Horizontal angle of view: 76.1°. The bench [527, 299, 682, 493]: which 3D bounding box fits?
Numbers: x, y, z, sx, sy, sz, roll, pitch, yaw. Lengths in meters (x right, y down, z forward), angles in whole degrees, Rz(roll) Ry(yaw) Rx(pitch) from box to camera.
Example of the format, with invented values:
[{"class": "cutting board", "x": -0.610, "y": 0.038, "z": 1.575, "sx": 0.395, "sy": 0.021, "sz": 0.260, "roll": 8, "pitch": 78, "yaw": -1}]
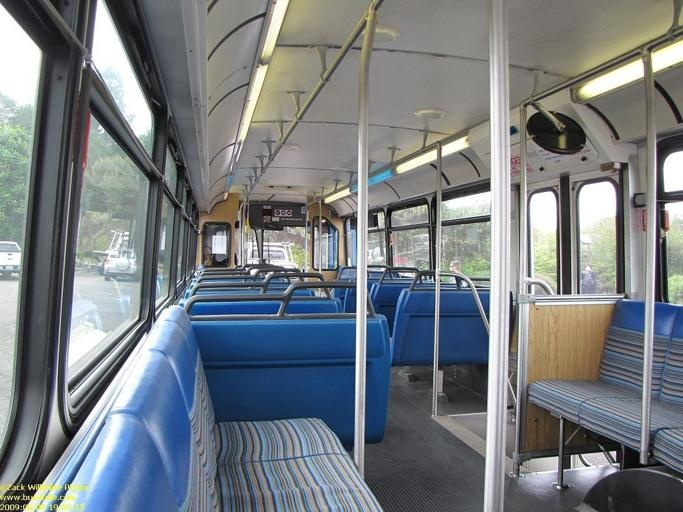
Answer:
[{"class": "bench", "x": 2.021, "y": 1.076, "z": 3.375, "sx": 0.758, "sy": 1.448, "sz": 1.386, "roll": 4, "pitch": -5, "yaw": -12}]
